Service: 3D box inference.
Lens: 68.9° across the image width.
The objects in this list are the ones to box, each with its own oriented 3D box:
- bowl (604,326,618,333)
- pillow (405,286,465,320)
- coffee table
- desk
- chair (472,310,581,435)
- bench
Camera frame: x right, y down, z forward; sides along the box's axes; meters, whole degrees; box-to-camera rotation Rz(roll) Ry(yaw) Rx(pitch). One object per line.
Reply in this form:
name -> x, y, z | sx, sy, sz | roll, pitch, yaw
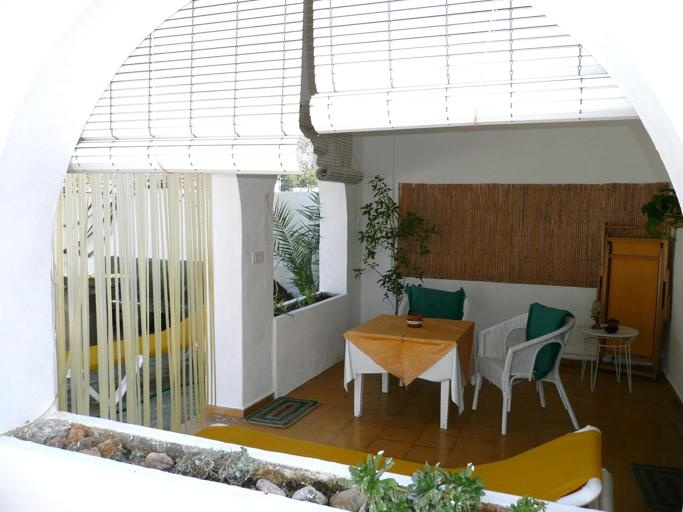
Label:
bowl -> 2.913, 0.791, 5.379 | 0.128, 0.078, 0.172 | -1, 6, 28
pillow -> 1.196, 0.570, 6.424 | 0.798, 0.311, 0.906 | 9, 6, 13
coffee table -> 3.076, 1.194, 5.709 | 0.604, 0.726, 0.607 | -2, 6, 10
desk -> 0.753, 1.178, 5.174 | 1.376, 0.810, 1.431 | -1, -2, 37
chair -> 1.741, 0.938, 5.121 | 0.996, 1.419, 1.188 | 1, 3, -8
bench -> -1.499, 0.721, 4.302 | 1.464, 0.887, 0.379 | -7, -5, -6
